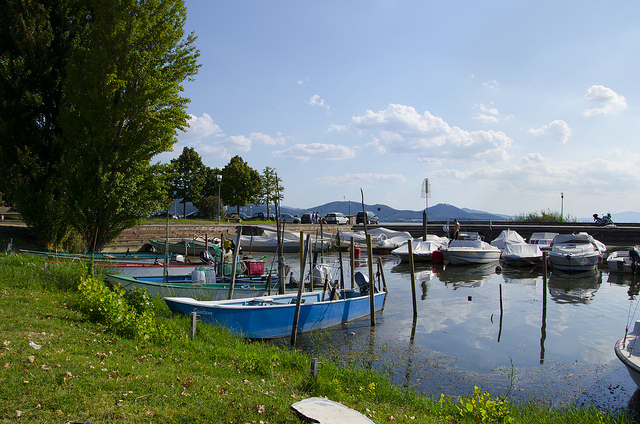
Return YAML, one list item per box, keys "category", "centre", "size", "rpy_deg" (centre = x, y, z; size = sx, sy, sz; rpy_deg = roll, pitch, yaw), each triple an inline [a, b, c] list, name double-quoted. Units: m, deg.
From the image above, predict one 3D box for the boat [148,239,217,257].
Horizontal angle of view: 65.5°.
- category: "boat"
  centre: [-9.990, 2.720, 36.226]
  size: [4.051, 0.746, 1.133]
  rpy_deg: [10, -7, -9]

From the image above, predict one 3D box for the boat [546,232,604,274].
- category: "boat"
  centre: [17.563, 2.880, 34.834]
  size: [3.118, 2.791, 2.288]
  rpy_deg: [3, -4, -10]

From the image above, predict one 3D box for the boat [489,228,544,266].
- category: "boat"
  centre: [15.740, 3.116, 40.159]
  size: [2.355, 2.179, 5.362]
  rpy_deg: [1, 7, 10]

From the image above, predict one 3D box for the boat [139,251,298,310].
- category: "boat"
  centre: [-4.533, 3.534, 26.609]
  size: [9.155, 3.582, 2.971]
  rpy_deg: [2, -5, -14]

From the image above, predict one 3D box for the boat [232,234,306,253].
- category: "boat"
  centre: [-4.137, 2.657, 39.669]
  size: [6.575, 1.687, 2.203]
  rpy_deg: [1, 0, 1]

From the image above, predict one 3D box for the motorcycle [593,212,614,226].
- category: "motorcycle"
  centre: [26.149, 0.867, 45.975]
  size: [1.240, 0.829, 0.803]
  rpy_deg: [-14, 10, 17]

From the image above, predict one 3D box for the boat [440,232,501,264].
- category: "boat"
  centre: [11.835, 3.191, 39.371]
  size: [4.384, 2.091, 1.707]
  rpy_deg: [4, -4, -20]

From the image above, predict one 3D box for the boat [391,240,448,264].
- category: "boat"
  centre: [8.132, 3.444, 42.039]
  size: [3.822, 2.083, 3.212]
  rpy_deg: [2, -5, 14]
